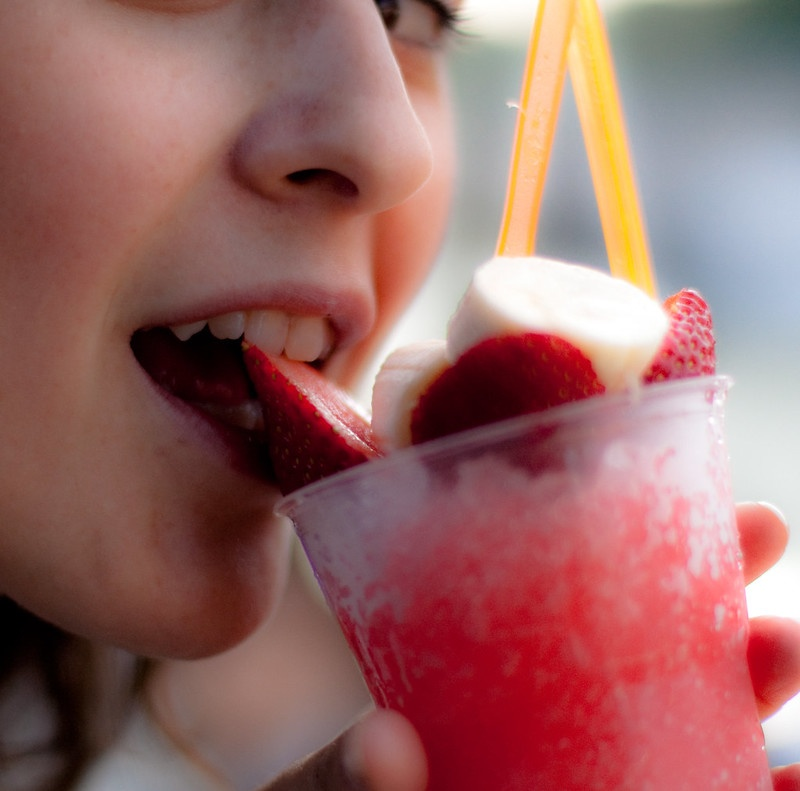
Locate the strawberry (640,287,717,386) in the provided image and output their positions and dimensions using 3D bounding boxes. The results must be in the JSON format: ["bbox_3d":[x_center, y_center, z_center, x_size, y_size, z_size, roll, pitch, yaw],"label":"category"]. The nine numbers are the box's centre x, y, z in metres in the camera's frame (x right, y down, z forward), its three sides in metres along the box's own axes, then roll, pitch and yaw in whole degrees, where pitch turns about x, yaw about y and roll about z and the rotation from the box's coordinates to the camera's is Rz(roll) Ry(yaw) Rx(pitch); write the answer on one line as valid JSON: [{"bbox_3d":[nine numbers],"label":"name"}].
[{"bbox_3d":[0.298,-0.058,1.079,0.061,0.088,0.113,-1,33,4],"label":"strawberry"}]
